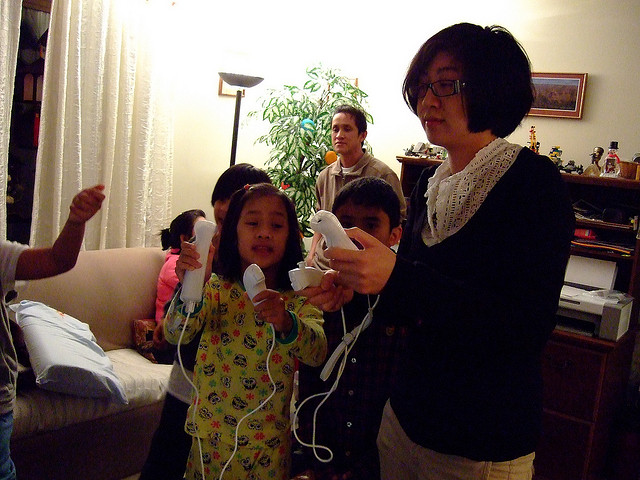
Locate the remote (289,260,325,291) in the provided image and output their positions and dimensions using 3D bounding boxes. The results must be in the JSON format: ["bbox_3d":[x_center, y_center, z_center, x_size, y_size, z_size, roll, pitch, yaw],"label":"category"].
[{"bbox_3d":[-0.038,0.081,1.185,0.084,0.067,0.050,-4,-9,-16],"label":"remote"}]

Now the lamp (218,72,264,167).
[{"bbox_3d":[-0.633,-0.921,3.740,0.300,0.697,0.641,7,6,-10],"label":"lamp"}]

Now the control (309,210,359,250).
[{"bbox_3d":[0.041,-0.021,1.160,0.093,0.087,0.163,4,8,-32],"label":"control"}]

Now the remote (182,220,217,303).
[{"bbox_3d":[-0.325,0.055,1.317,0.066,0.220,0.072,6,6,-10],"label":"remote"}]

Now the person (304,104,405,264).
[{"bbox_3d":[0.218,-0.328,3.340,0.612,1.126,0.725,-6,4,-39],"label":"person"}]

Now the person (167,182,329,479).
[{"bbox_3d":[-0.203,0.316,1.411,0.452,0.952,0.409,8,6,2],"label":"person"}]

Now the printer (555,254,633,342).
[{"bbox_3d":[1.467,0.293,2.588,0.339,0.386,0.499,11,7,29],"label":"printer"}]

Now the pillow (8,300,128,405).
[{"bbox_3d":[-1.205,0.547,2.372,0.442,0.362,0.555,3,8,-40],"label":"pillow"}]

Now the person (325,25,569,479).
[{"bbox_3d":[0.323,0.053,1.170,0.467,0.830,0.482,11,7,30],"label":"person"}]

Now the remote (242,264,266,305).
[{"bbox_3d":[-0.164,0.095,1.227,0.041,0.025,0.079,0,31,6],"label":"remote"}]
